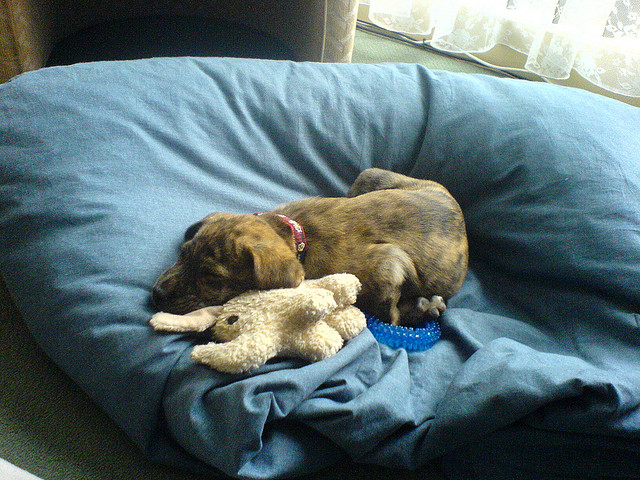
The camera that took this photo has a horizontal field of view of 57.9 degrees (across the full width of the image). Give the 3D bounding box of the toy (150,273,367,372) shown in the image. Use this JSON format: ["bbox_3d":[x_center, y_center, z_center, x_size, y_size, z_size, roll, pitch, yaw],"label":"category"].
[{"bbox_3d":[-0.090,0.160,1.157,0.264,0.092,0.224,-3,9,-25],"label":"toy"}]

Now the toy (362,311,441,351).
[{"bbox_3d":[0.181,0.175,1.247,0.164,0.137,0.042,-1,50,-6],"label":"toy"}]

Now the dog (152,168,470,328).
[{"bbox_3d":[0.025,0.013,1.252,0.492,0.158,0.357,0,26,-23],"label":"dog"}]

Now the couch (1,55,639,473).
[{"bbox_3d":[-0.081,0.082,1.373,1.532,0.321,0.970,-2,48,-16],"label":"couch"}]
